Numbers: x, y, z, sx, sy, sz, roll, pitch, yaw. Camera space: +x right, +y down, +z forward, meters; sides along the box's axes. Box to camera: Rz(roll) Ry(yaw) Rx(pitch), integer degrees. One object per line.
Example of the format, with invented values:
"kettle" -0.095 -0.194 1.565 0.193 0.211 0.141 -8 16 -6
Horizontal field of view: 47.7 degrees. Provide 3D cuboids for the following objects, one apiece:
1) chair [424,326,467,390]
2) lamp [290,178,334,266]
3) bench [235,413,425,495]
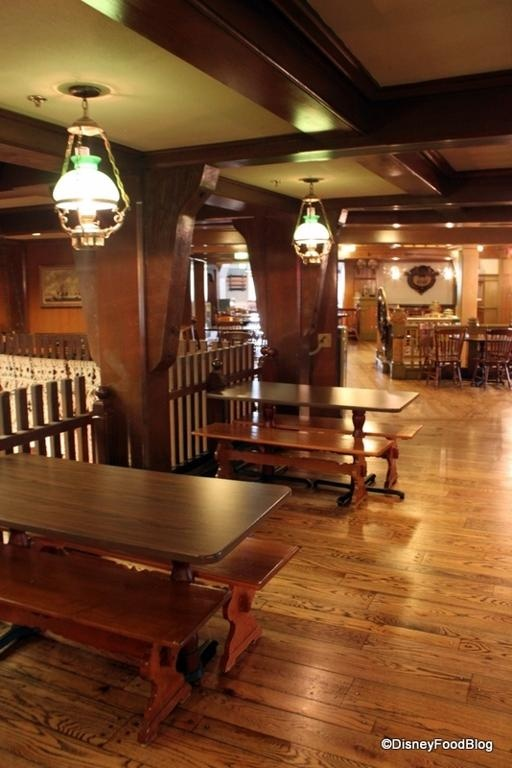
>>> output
"chair" 3.371 -0.511 10.323 0.580 1.030 1.243 3 8 16
"lamp" 0.461 -1.346 4.794 0.303 0.655 0.326 9 15 41
"bench" 0.719 0.391 4.664 1.088 0.517 0.585 3 16 17
